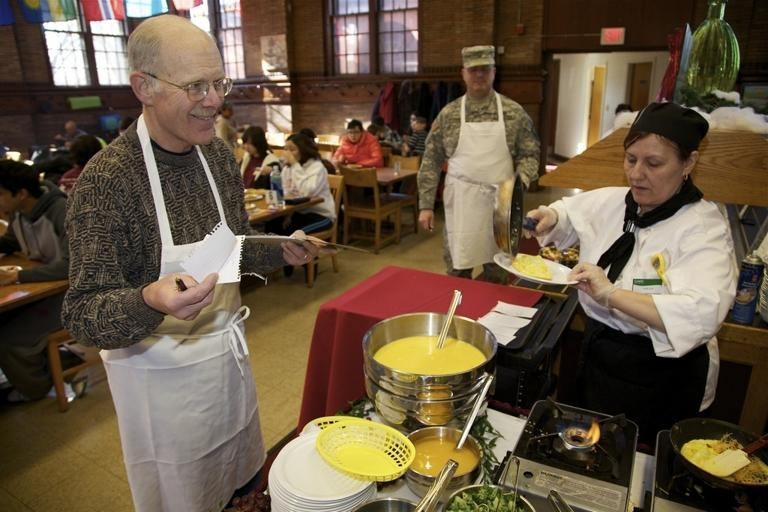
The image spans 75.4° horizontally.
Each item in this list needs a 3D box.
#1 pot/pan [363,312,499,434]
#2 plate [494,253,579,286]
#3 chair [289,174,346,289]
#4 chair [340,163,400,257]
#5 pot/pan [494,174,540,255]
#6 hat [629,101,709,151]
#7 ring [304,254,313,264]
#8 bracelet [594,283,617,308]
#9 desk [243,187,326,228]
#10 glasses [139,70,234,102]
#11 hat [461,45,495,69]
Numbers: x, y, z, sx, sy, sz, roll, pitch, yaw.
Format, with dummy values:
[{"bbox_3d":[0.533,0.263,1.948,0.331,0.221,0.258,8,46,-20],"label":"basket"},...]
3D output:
[{"bbox_3d":[0.132,0.387,1.686,0.393,0.230,0.412,-1,18,-1],"label":"pot/pan"},{"bbox_3d":[0.741,0.066,2.323,0.244,0.032,0.230,-6,25,-30],"label":"plate"},{"bbox_3d":[-0.875,-0.325,5.767,0.778,1.116,0.794,8,22,40],"label":"chair"},{"bbox_3d":[-0.180,-0.663,6.527,0.697,0.997,0.718,13,19,37],"label":"chair"},{"bbox_3d":[0.566,-0.196,2.201,0.142,0.292,0.306,10,60,26],"label":"pot/pan"},{"bbox_3d":[1.113,-0.501,1.889,0.241,0.111,0.207,14,17,-9],"label":"hat"},{"bbox_3d":[-0.368,0.011,2.349,0.040,0.016,0.038,-17,29,10],"label":"ring"},{"bbox_3d":[0.851,0.145,1.892,0.063,0.084,0.063,13,36,3],"label":"bracelet"},{"bbox_3d":[-1.096,-0.437,4.994,0.776,0.172,0.514,15,36,27],"label":"desk"},{"bbox_3d":[-0.682,-0.608,1.773,0.171,0.043,0.161,22,27,19],"label":"glasses"},{"bbox_3d":[0.701,-1.478,3.677,0.221,0.153,0.309,1,20,7],"label":"hat"}]
